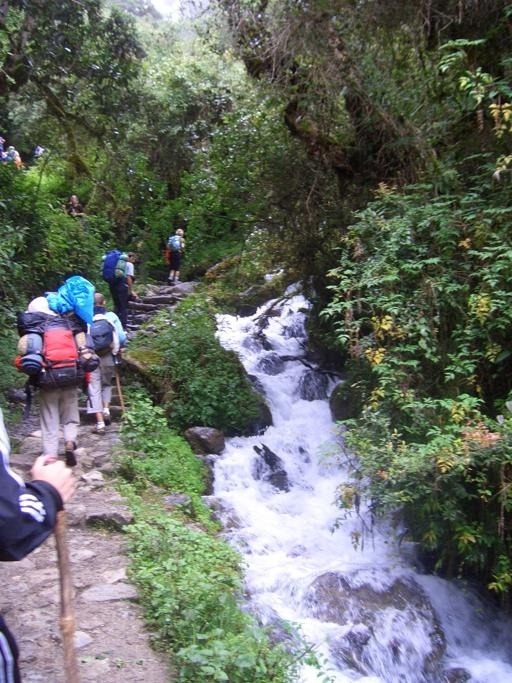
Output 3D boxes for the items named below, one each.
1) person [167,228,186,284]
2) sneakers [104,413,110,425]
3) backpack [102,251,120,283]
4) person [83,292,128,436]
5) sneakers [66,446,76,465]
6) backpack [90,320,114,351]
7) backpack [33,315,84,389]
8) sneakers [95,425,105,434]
[{"bbox_3d":[-2.118,-2.269,16.514,0.563,1.449,0.950,-8,8,-7],"label":"person"},{"bbox_3d":[-2.068,1.097,8.640,0.057,0.158,0.072,3,36,-6],"label":"sneakers"},{"bbox_3d":[-2.539,-1.310,10.911,0.393,0.540,0.308,-4,9,14],"label":"backpack"},{"bbox_3d":[-2.045,0.288,8.350,0.632,1.849,0.982,-9,9,-15],"label":"person"},{"bbox_3d":[-2.026,1.277,6.825,0.103,0.233,0.102,0,24,-3],"label":"sneakers"},{"bbox_3d":[-1.975,-0.089,7.911,0.291,0.386,0.252,-11,35,-26],"label":"backpack"},{"bbox_3d":[-2.036,0.120,6.470,0.594,0.357,0.936,-7,29,-15],"label":"backpack"},{"bbox_3d":[-2.078,1.172,8.328,0.085,0.132,0.136,-13,-11,12],"label":"sneakers"}]
